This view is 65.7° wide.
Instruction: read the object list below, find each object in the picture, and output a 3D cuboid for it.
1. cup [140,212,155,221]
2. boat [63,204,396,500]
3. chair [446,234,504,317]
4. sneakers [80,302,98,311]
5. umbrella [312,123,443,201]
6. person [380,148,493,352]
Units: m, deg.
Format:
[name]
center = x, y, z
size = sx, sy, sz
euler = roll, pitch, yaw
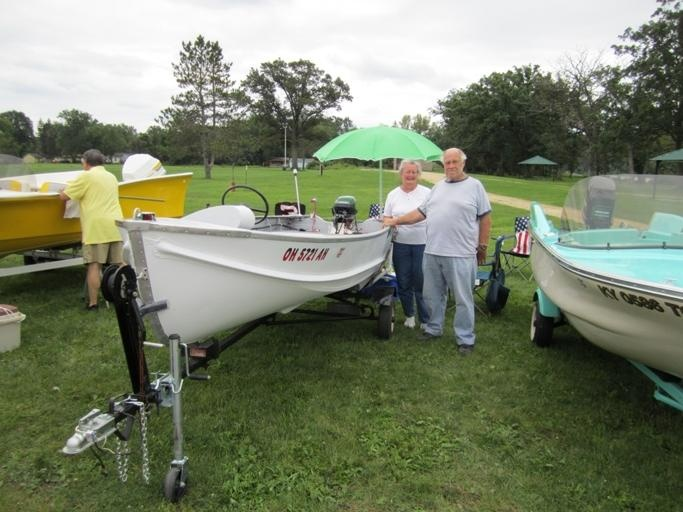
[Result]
[cup]
center = -1.404, -0.285, 3.856
size = 0.095, 0.054, 0.157
euler = -3, 11, -19
[boat]
center = -0.881, 0.543, 4.582
size = 1.068, 1.955, 3.166
euler = 9, 13, 40
[chair]
center = 1.717, 0.197, 6.487
size = 0.621, 0.946, 0.682
euler = -9, 23, -35
[sneakers]
center = -3.095, 0.628, 6.518
size = 0.193, 0.086, 0.071
euler = 4, 5, 43
[umbrella]
center = 0.521, -1.314, 6.979
size = 1.620, 1.153, 1.687
euler = -1, 8, 4
[person]
center = 1.165, -0.061, 5.445
size = 0.661, 2.008, 0.422
euler = 3, 11, 14
